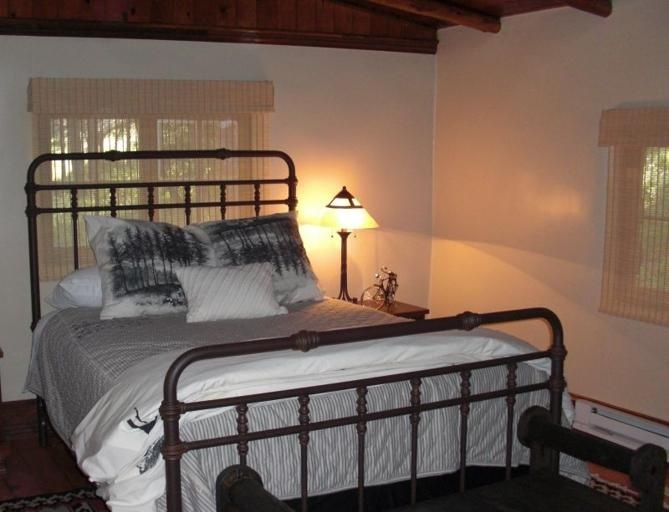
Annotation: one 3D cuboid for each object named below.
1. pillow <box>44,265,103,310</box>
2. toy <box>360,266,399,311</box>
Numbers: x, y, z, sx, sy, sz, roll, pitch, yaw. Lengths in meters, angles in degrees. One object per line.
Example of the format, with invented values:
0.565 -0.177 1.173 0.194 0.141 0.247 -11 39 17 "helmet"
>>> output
-1.434 0.180 3.516 0.249 0.122 0.253 -4 12 -14 "pillow"
0.349 0.241 4.746 0.173 0.271 0.456 12 13 38 "toy"
